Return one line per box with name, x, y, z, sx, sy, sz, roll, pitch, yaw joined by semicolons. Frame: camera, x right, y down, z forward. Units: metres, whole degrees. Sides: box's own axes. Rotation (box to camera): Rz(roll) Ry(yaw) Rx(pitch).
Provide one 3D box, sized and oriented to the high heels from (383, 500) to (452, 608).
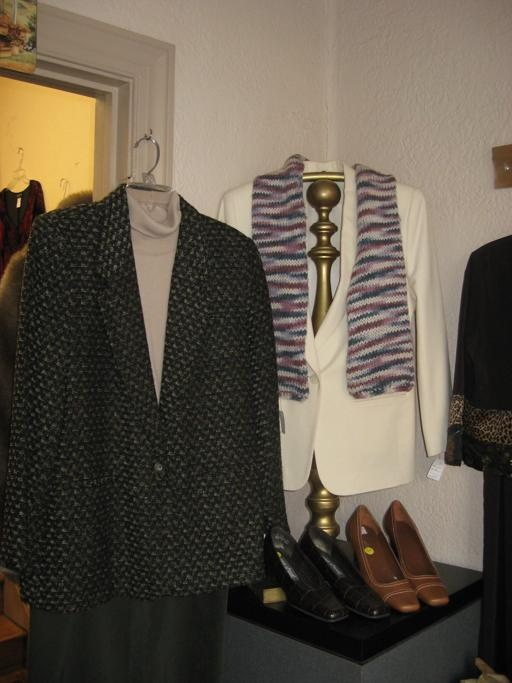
high heels;0.368;0.499;1.565;0.061;0.056;0.204;-3;25;-13
